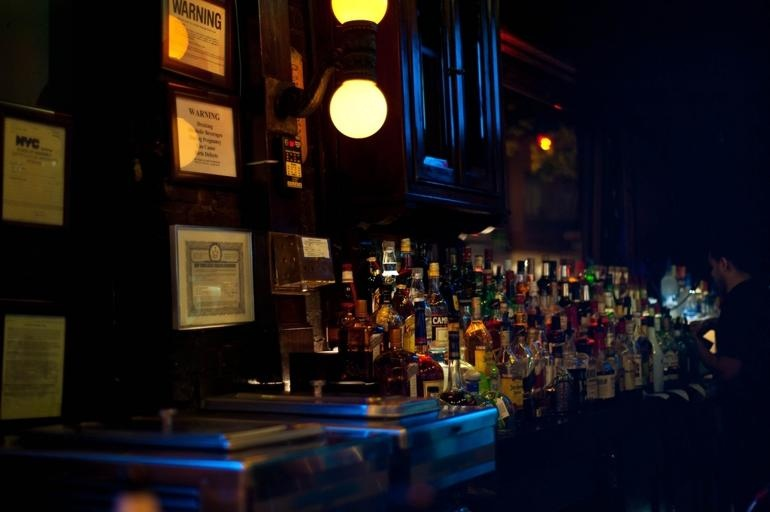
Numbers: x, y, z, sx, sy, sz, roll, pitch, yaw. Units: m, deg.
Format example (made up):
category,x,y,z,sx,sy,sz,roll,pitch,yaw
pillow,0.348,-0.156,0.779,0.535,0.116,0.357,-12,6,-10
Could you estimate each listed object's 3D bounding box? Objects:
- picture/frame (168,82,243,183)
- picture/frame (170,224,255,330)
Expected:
category,x,y,z,sx,sy,sz,roll,pitch,yaw
picture/frame,-0.691,-0.454,2.445,0.039,0.401,0.396,-4,-4,44
picture/frame,-0.651,0.085,2.396,0.387,0.445,0.072,-1,1,-40
